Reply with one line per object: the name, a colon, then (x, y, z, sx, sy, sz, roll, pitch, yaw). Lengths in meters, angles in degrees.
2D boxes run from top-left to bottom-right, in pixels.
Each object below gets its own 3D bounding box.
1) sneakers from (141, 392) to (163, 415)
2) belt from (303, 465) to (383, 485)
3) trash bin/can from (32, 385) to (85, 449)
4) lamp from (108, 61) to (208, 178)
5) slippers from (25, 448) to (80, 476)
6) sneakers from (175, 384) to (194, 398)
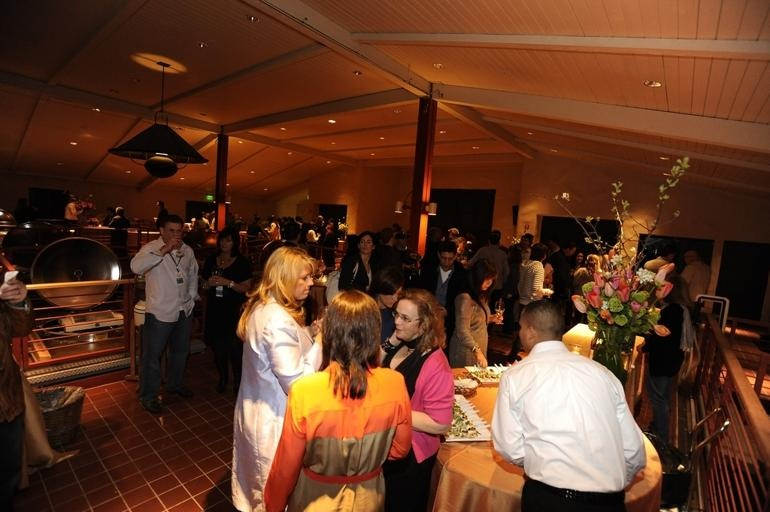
sneakers: (-2.671, 1.696, 5.420, 0.292, 0.129, 0.152, 16, 1, 35)
belt: (-0.306, 1.576, 3.410, 0.573, 0.103, 0.086, 6, 4, -9)
trash bin/can: (-3.445, 1.668, 5.062, 0.549, 0.557, 0.578, 2, 2, -34)
lamp: (-3.043, -1.891, 6.363, 1.072, 1.563, 1.027, 2, 0, -10)
slippers: (-3.272, 1.971, 4.677, 0.476, 0.196, 0.150, -15, 32, -40)
sneakers: (-2.433, 1.626, 5.721, 0.249, 0.112, 0.109, 5, 3, 24)
